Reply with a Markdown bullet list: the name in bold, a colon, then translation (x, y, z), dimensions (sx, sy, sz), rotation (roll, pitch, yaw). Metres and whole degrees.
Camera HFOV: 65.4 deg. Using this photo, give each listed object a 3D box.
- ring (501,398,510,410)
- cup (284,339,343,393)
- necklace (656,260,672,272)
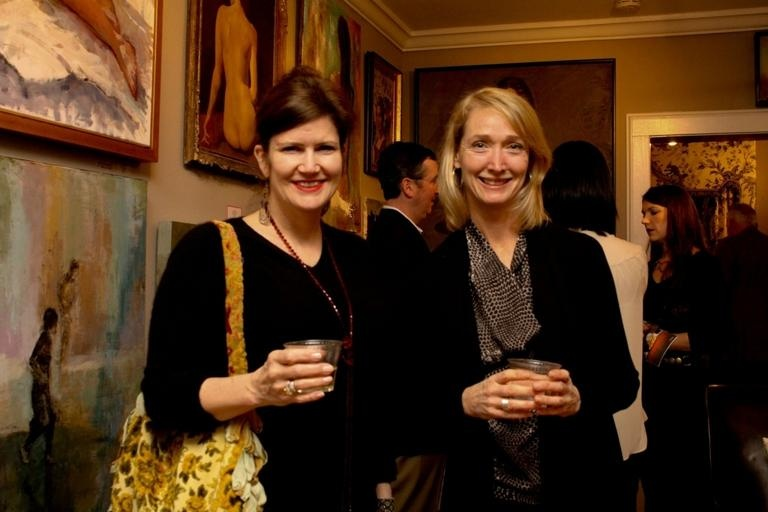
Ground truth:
- **ring**: translation (0.471, 0.574, 2.323), dimensions (0.032, 0.034, 0.032), rotation (0, -1, 0)
- **cup**: translation (-0.260, 0.375, 2.222), dimensions (0.186, 0.169, 0.202), rotation (0, 1, 0)
- **necklace**: translation (2.084, 0.065, 4.482), dimensions (0.070, 0.024, 0.070), rotation (27, -23, -16)
